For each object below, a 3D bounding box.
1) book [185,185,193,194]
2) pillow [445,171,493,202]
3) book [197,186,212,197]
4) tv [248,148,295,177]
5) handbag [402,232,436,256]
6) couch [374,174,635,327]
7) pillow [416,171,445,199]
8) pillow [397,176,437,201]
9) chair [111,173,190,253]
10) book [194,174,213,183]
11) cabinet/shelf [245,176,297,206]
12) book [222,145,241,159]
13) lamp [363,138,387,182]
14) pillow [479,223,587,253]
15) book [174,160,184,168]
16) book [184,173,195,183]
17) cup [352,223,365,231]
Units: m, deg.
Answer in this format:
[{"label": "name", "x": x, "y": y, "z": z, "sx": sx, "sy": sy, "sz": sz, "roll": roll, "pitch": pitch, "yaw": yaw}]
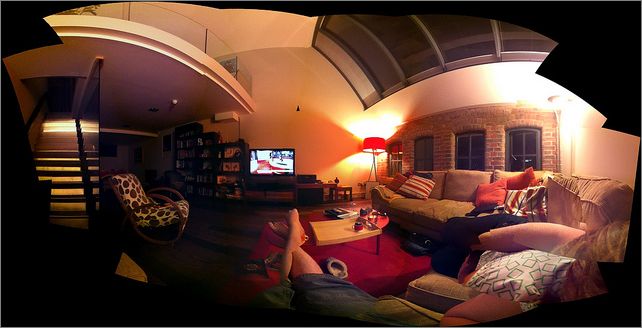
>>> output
[{"label": "book", "x": -0.807, "y": 0.156, "z": 2.317, "sx": 0.047, "sy": 0.033, "sz": 0.023, "roll": 1, "pitch": 0, "yaw": -12}, {"label": "pillow", "x": 0.938, "y": 0.134, "z": 2.383, "sx": 0.219, "sy": 0.126, "sz": 0.073, "roll": 7, "pitch": 34, "yaw": 18}, {"label": "book", "x": -0.709, "y": 0.168, "z": 2.308, "sx": 0.092, "sy": 0.043, "sz": 0.047, "roll": 1, "pitch": 0, "yaw": -17}, {"label": "tv", "x": -0.310, "y": -0.009, "z": 2.366, "sx": 0.343, "sy": 0.170, "sz": 0.010, "roll": -1, "pitch": 0, "yaw": 28}, {"label": "handbag", "x": 0.616, "y": 0.500, "z": 2.416, "sx": 0.173, "sy": 0.055, "sz": 0.160, "roll": -5, "pitch": 10, "yaw": -26}, {"label": "couch", "x": 1.101, "y": 0.341, "z": 2.303, "sx": 1.079, "sy": 0.420, "sz": 1.174, "roll": 6, "pitch": 9, "yaw": 40}, {"label": "pillow", "x": 0.706, "y": 0.128, "z": 2.447, "sx": 0.188, "sy": 0.182, "sz": 0.068, "roll": 8, "pitch": 31, "yaw": 14}, {"label": "pillow", "x": 0.619, "y": 0.164, "z": 2.473, "sx": 0.217, "sy": 0.174, "sz": 0.063, "roll": 28, "pitch": 7, "yaw": 19}, {"label": "chair", "x": -1.419, "y": 0.348, "z": 3.203, "sx": 0.659, "sy": 0.408, "sz": 0.433, "roll": 11, "pitch": 10, "yaw": -19}, {"label": "book", "x": -0.724, "y": 0.088, "z": 2.346, "sx": 0.038, "sy": 0.034, "sz": 0.118, "roll": 1, "pitch": 0, "yaw": 25}, {"label": "cabinet/shelf", "x": -0.322, "y": 0.175, "z": 2.454, "sx": 0.366, "sy": 0.140, "sz": 0.135, "roll": 1, "pitch": 5, "yaw": 18}, {"label": "book", "x": -0.553, "y": -0.071, "z": 2.349, "sx": 0.139, "sy": 0.062, "sz": 0.086, "roll": 5, "pitch": 0, "yaw": 0}, {"label": "lamp", "x": 0.328, "y": -0.031, "z": 2.350, "sx": 0.135, "sy": 0.238, "sz": 0.052, "roll": 1, "pitch": 0, "yaw": 7}, {"label": "pillow", "x": 1.310, "y": 0.446, "z": 2.375, "sx": 0.698, "sy": 0.172, "sz": 0.345, "roll": 0, "pitch": -2, "yaw": 7}, {"label": "book", "x": -0.912, "y": 0.000, "z": 2.431, "sx": 0.065, "sy": 0.038, "sz": 0.006, "roll": 2, "pitch": 1, "yaw": 37}, {"label": "book", "x": -0.804, "y": 0.087, "z": 2.313, "sx": 0.066, "sy": 0.052, "sz": 0.030, "roll": 4, "pitch": 4, "yaw": 18}, {"label": "cup", "x": 0.237, "y": 0.406, "z": 2.435, "sx": 0.072, "sy": 0.039, "sz": 0.043, "roll": 0, "pitch": 0, "yaw": 8}]
